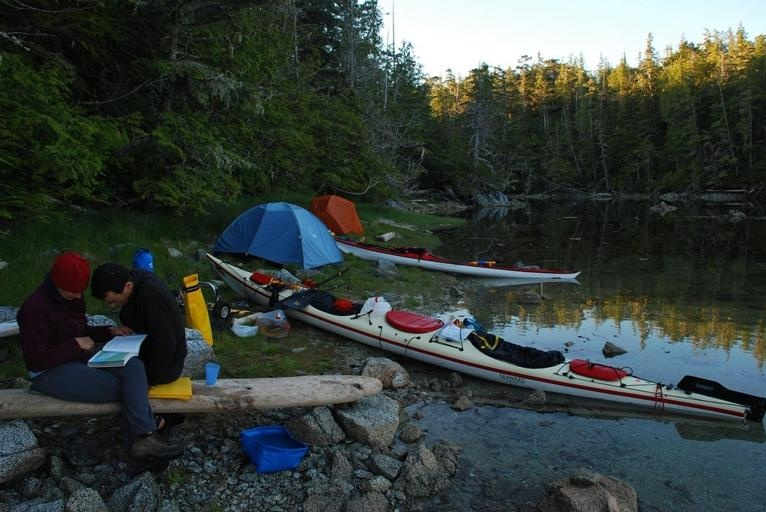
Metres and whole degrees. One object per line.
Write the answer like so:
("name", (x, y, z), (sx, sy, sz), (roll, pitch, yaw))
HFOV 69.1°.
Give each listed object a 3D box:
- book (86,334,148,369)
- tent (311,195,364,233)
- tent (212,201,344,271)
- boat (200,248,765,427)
("book", (-5.182, 1.816, 10.867), (0.873, 0.198, 1.009), (-4, 20, 1))
("tent", (-2.033, -1.917, 27.056), (2.297, 1.064, 2.281), (13, -3, 39))
("tent", (-3.860, -1.216, 22.144), (5.088, 1.705, 4.293), (9, 21, 16))
("boat", (2.690, 2.343, 16.062), (18.758, 1.622, 2.395), (8, 7, 23))
